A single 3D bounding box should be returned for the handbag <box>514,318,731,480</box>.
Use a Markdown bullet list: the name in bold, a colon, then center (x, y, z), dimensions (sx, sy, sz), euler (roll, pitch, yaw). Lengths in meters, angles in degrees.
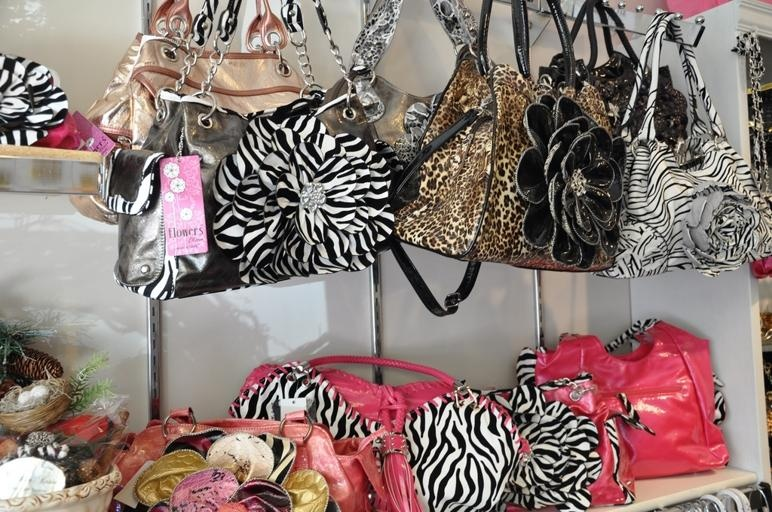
- **handbag**: center (0.644, 0.380, 1.779), dimensions (0.494, 0.377, 0.267), euler (-5, 17, 3)
